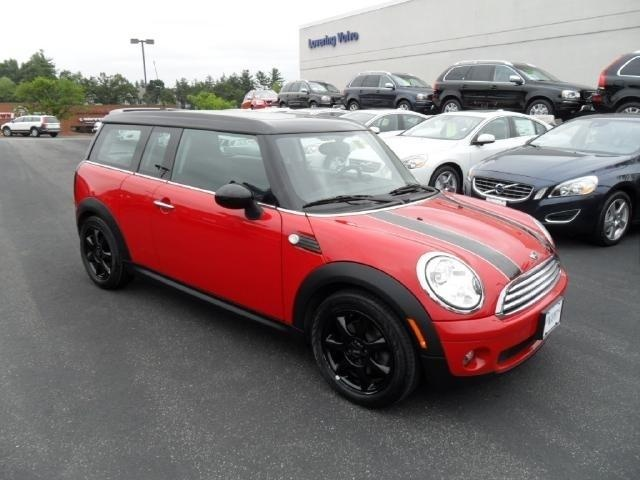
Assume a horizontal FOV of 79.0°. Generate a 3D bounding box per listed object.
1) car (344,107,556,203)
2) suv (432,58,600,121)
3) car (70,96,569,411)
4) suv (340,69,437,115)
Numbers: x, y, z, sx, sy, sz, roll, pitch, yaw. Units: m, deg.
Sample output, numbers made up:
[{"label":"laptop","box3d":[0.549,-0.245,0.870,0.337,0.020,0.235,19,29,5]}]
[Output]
[{"label":"car","box3d":[3.299,-2.139,9.552,5.132,1.602,2.193,-7,17,-28]},{"label":"suv","box3d":[7.263,-5.604,14.729,5.910,2.105,2.864,16,26,42]},{"label":"car","box3d":[-0.354,-0.151,3.817,4.542,1.515,2.335,11,20,35]},{"label":"suv","box3d":[3.354,-6.966,18.440,4.308,1.607,2.331,12,23,37]}]
